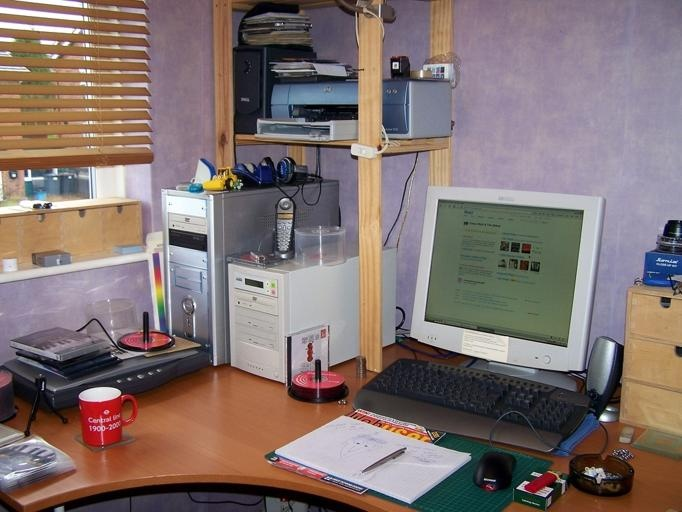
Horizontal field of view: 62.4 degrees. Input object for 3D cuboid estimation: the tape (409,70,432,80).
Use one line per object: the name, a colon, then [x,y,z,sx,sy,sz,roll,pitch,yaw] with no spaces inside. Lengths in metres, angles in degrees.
tape: [0.259,-0.587,1.817,0.065,0.025,0.065,9,14,34]

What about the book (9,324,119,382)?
book: [-0.796,0.262,1.590,0.205,0.045,0.150,14,19,30]

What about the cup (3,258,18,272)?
cup: [-1.076,0.025,1.829,0.043,0.037,0.052,-9,17,-30]

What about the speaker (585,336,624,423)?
speaker: [0.713,0.336,1.535,0.087,0.216,0.091,7,3,-26]

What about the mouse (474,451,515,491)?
mouse: [0.323,0.477,1.268,0.074,0.046,0.128,12,2,5]

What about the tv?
tv: [0.499,0.080,1.701,0.538,0.562,0.306,6,13,32]

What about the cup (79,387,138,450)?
cup: [-0.573,0.398,1.401,0.135,0.113,0.084,-1,7,-28]

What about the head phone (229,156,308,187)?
head phone: [-0.250,-0.279,1.910,0.150,0.066,0.162,7,10,34]

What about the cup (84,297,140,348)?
cup: [-0.766,0.219,1.913,0.138,0.130,0.137,2,11,0]
